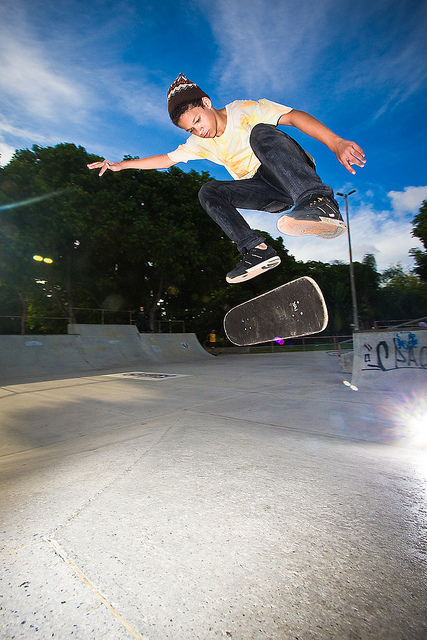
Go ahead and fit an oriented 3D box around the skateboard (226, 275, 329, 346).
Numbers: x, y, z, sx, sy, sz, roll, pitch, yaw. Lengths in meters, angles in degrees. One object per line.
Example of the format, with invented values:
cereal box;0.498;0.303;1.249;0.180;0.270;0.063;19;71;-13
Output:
skateboard;0.464;-0.036;3.012;0.180;0.387;1.260;-15;-4;-28
